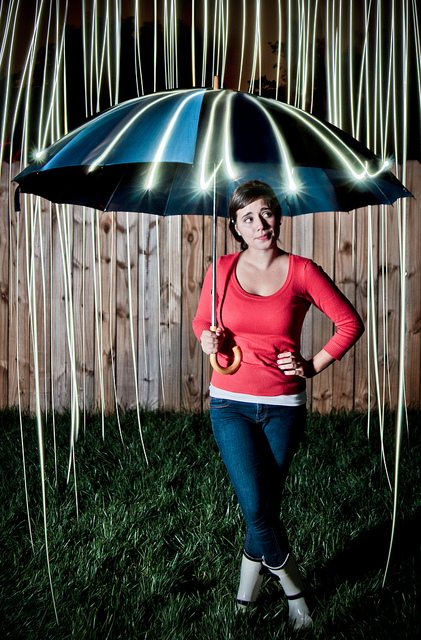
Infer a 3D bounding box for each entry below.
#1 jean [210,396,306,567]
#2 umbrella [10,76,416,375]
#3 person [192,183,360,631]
[{"bbox_3d":[0.196,0.571,2.164,0.272,0.767,0.221,-3,11,1],"label":"jean"},{"bbox_3d":[-0.045,-0.568,2.484,1.175,1.152,1.342,0,6,-11],"label":"umbrella"},{"bbox_3d":[0.237,0.224,2.529,0.546,1.606,1.070,-6,5,-2],"label":"person"}]
